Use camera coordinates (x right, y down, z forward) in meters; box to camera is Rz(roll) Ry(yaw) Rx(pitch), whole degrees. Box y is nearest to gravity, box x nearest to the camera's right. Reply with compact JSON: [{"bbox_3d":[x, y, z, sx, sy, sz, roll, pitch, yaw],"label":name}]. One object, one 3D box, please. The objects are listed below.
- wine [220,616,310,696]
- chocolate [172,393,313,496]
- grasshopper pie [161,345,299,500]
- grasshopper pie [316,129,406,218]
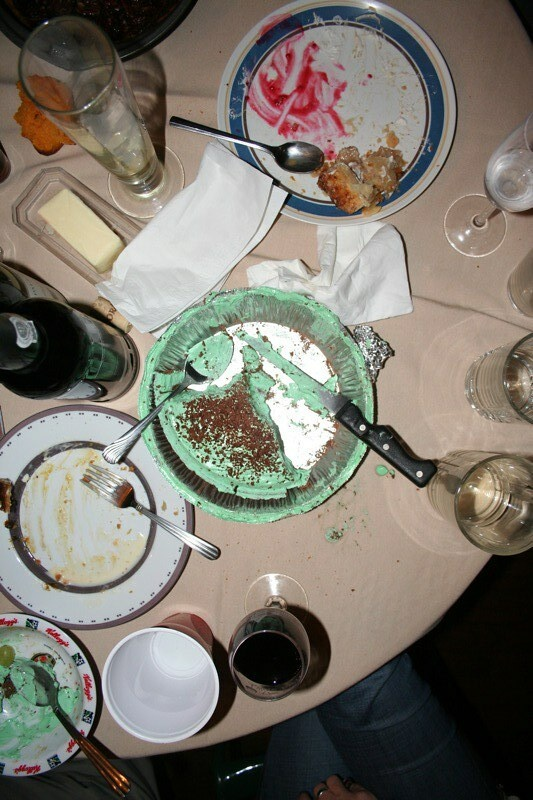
[{"bbox_3d":[0.005,0.319,0.799,0.096,0.108,0.081,-2,8,6],"label":"wine"},{"bbox_3d":[-0.043,0.059,0.821,0.169,0.130,0.025,34,-2,3],"label":"chocolate"},{"bbox_3d":[-0.039,0.055,0.950,0.231,0.178,0.197,-11,48,-12],"label":"grasshopper pie"},{"bbox_3d":[0.127,-0.294,0.849,0.114,0.077,0.066,3,29,10],"label":"grasshopper pie"}]
